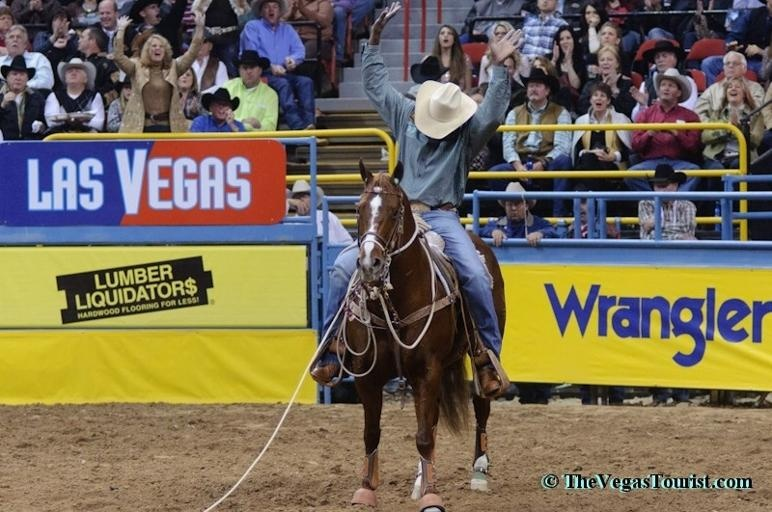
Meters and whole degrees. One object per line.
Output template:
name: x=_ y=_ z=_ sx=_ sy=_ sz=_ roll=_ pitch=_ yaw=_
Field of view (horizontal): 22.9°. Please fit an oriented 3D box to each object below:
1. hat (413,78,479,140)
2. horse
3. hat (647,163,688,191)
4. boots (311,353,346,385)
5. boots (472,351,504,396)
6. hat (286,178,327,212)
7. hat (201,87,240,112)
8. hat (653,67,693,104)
hat: x=0.720 y=-1.885 z=23.705 sx=0.713 sy=0.757 sz=0.288 roll=34 pitch=-29 yaw=9
horse: x=0.448 y=0.954 z=23.293 sx=1.882 sy=4.206 sz=1.279 roll=-2 pitch=8 yaw=-17
hat: x=4.000 y=-1.096 z=26.735 sx=0.454 sy=0.363 sz=0.377 roll=1 pitch=8 yaw=3
boots: x=-0.734 y=1.427 z=23.701 sx=0.279 sy=0.437 sz=0.441 roll=6 pitch=-15 yaw=-6
boots: x=1.273 y=1.461 z=23.572 sx=0.341 sy=0.570 sz=0.203 roll=-18 pitch=-7 yaw=8
hat: x=-1.194 y=-0.830 z=27.122 sx=0.409 sy=0.200 sz=0.500 roll=3 pitch=-40 yaw=1
hat: x=-2.480 y=-2.335 z=28.610 sx=0.555 sy=0.381 sz=0.769 roll=0 pitch=9 yaw=-5
hat: x=4.346 y=-2.533 z=28.542 sx=0.547 sy=0.518 sz=0.537 roll=1 pitch=8 yaw=2
